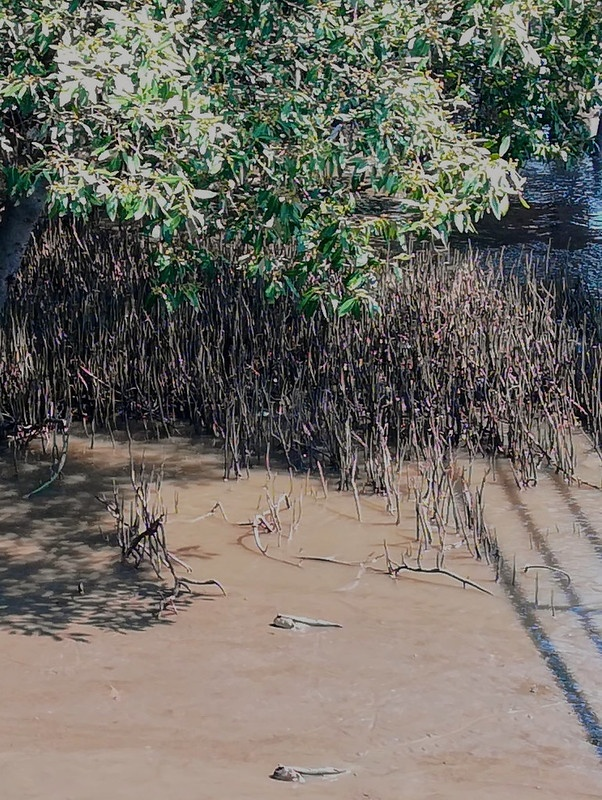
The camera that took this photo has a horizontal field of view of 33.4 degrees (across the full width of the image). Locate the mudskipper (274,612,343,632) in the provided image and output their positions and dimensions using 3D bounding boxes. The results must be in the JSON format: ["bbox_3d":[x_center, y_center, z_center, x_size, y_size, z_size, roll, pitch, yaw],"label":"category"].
[{"bbox_3d":[0.025,0.650,2.973,0.169,0.034,0.067,3,3,-8],"label":"mudskipper"}]
